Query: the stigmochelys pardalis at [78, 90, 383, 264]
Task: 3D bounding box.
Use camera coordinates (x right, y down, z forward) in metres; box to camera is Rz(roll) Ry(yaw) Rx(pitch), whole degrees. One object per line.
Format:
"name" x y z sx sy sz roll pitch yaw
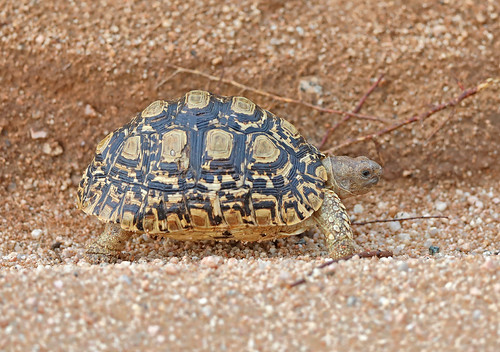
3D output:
"stigmochelys pardalis" -0.231 0.010 4.068 2.038 0.351 1.168 -1 86 -1
